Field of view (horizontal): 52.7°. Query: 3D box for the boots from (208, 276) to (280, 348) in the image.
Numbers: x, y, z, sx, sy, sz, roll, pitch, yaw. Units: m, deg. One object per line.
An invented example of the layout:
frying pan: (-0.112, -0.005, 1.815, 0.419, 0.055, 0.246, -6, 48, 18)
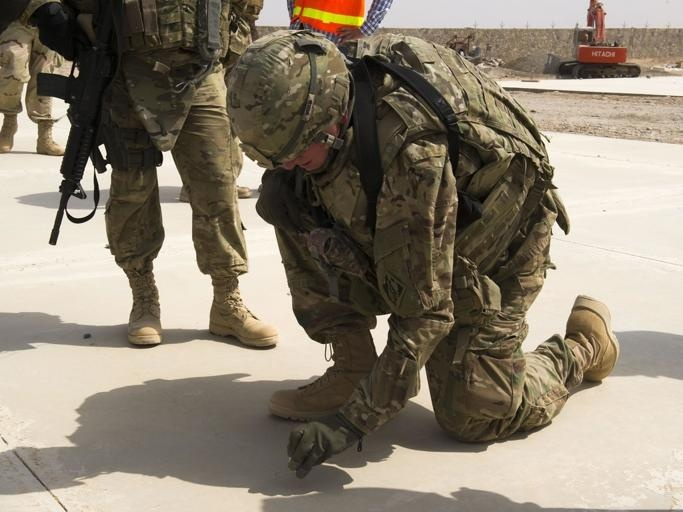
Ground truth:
boots: (-0.503, 0.285, 3.605, 0.472, 0.325, 0.168, 14, 18, 36)

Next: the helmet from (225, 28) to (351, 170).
helmet: (-0.217, -0.614, 2.545, 0.420, 0.415, 0.547, 7, 34, 36)

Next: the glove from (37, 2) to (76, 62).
glove: (-1.302, -1.062, 3.231, 0.096, 0.155, 0.213, -18, -28, 7)

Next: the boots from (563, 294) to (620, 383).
boots: (1.143, 0.381, 3.350, 0.243, 0.405, 0.291, -20, -45, 41)

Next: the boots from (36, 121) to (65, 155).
boots: (-3.080, -1.256, 7.446, 0.404, 0.355, 0.186, 13, 16, 17)
